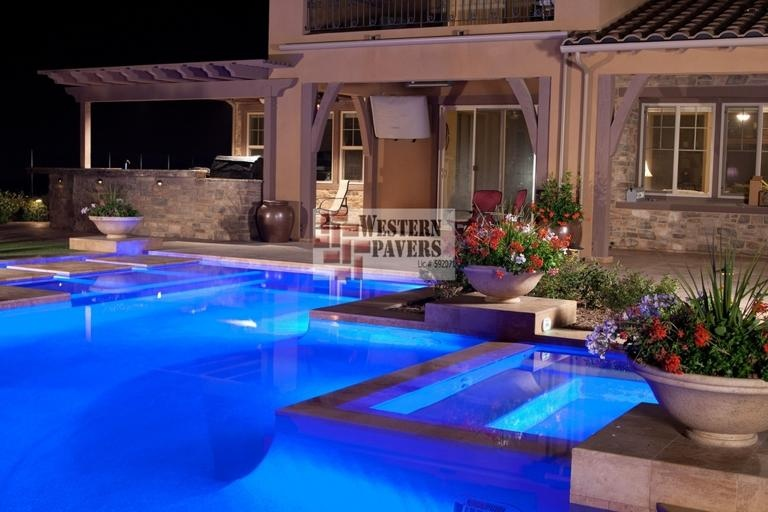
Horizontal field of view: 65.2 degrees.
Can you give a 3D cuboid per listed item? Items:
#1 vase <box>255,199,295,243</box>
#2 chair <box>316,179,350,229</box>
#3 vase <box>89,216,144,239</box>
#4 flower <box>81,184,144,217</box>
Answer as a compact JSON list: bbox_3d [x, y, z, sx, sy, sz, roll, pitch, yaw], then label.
[{"bbox_3d":[-2.533,-0.772,13.874,0.987,0.978,0.941,-3,2,8],"label":"vase"},{"bbox_3d":[-1.505,-1.517,17.628,1.250,1.706,1.200,-5,7,-23],"label":"chair"},{"bbox_3d":[-5.418,-0.602,12.074,0.639,0.262,0.661,0,3,5],"label":"vase"},{"bbox_3d":[-5.730,-1.092,12.814,1.300,0.838,1.443,1,2,2],"label":"flower"}]
